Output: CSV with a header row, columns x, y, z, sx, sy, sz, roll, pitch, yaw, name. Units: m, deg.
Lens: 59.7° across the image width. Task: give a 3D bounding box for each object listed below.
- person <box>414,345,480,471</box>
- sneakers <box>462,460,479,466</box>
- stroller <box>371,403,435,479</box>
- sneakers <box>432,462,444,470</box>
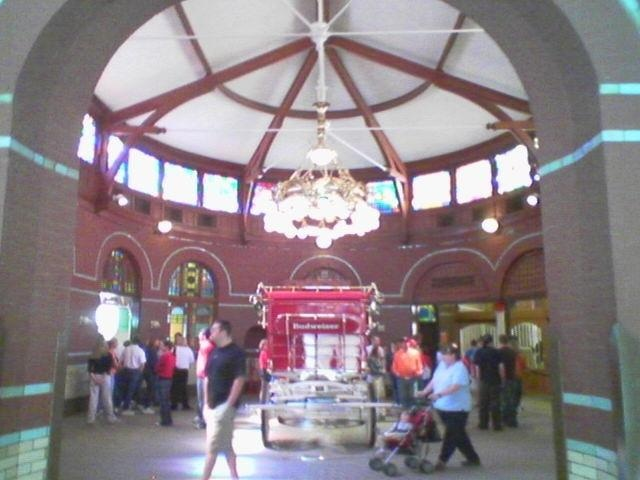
x,y,z,sx,sy,sz,roll,pitch,yaw,name
1.993,2.607,8.670,1.037,1.828,0.779,12,-15,-40,person
2.342,3.460,8.688,0.246,0.107,0.085,4,-10,9,sneakers
1.319,2.995,8.630,0.976,1.085,1.339,-2,-7,17,stroller
1.799,3.421,8.447,0.178,0.125,0.119,-2,-6,13,sneakers
